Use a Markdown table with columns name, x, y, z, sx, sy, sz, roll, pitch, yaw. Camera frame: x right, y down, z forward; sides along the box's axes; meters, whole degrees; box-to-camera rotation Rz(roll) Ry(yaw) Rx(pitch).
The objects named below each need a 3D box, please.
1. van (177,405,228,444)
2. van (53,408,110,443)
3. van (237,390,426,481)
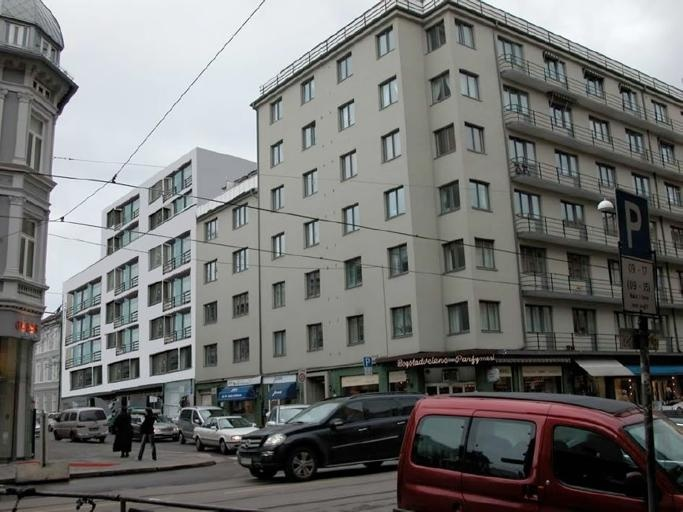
| name | x | y | z | sx | sy | sz | roll | pitch | yaw |
| --- | --- | --- | --- | --- | --- | --- | --- | --- | --- |
| van | -7.350 | 8.698 | 35.994 | 1.752 | 1.426 | 2.638 | 10 | -26 | -36 |
| van | -15.085 | 9.772 | 40.486 | 1.914 | 1.733 | 3.703 | 8 | -12 | -33 |
| van | -0.199 | 4.970 | 19.087 | 5.022 | 2.017 | 2.443 | 7 | -17 | -30 |
